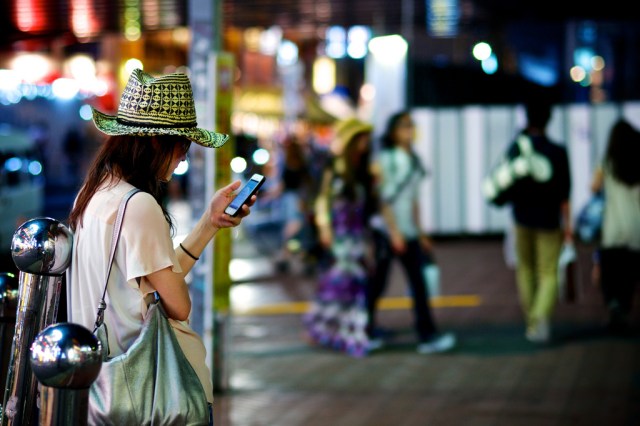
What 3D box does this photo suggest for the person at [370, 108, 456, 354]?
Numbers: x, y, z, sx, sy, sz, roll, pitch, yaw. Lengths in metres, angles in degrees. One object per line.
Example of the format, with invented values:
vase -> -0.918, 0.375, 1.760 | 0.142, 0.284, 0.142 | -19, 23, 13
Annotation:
person -> 0.826, 0.143, 9.222 | 0.675, 2.259, 1.250 | 0, 8, 3

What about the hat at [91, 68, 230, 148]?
hat -> -1.175, -0.773, 6.662 | 0.581, 0.296, 0.671 | 11, 2, 24

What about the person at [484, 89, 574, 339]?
person -> 1.958, 0.213, 8.499 | 0.750, 1.858, 0.555 | 2, 8, 17

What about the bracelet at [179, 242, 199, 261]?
bracelet -> -0.974, 0.290, 6.814 | 0.125, 0.028, 0.127 | 42, -3, -37
